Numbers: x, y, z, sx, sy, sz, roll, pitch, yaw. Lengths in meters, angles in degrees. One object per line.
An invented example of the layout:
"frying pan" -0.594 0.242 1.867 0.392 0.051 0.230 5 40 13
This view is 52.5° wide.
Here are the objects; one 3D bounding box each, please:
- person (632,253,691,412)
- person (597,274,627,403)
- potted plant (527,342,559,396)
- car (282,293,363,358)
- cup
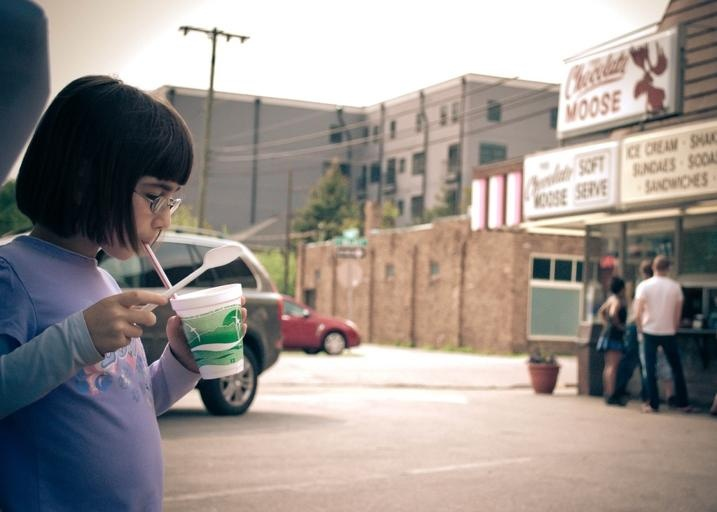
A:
"person" 4.198 1.087 10.097 0.728 2.169 0.496 1 -3 2
"person" 3.842 1.257 10.945 0.473 1.851 0.409 -2 -4 43
"potted plant" 3.166 1.984 12.420 0.552 0.746 0.567 2 -15 5
"car" -1.010 1.783 18.670 2.169 1.019 1.311 -2 -2 -10
"cup" -0.624 0.346 3.132 0.311 0.351 0.326 -10 -2 0
